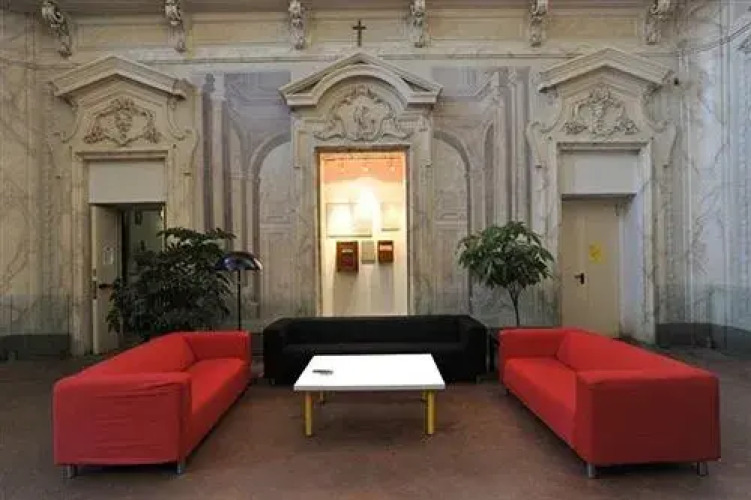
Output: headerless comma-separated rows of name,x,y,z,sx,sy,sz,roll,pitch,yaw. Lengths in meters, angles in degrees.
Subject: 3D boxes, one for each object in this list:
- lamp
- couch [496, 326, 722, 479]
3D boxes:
lamp,-2.162,0.798,11.405,0.603,1.623,0.610,-1,10,-1
couch,3.342,2.163,11.337,1.866,1.465,4.295,1,4,-9
